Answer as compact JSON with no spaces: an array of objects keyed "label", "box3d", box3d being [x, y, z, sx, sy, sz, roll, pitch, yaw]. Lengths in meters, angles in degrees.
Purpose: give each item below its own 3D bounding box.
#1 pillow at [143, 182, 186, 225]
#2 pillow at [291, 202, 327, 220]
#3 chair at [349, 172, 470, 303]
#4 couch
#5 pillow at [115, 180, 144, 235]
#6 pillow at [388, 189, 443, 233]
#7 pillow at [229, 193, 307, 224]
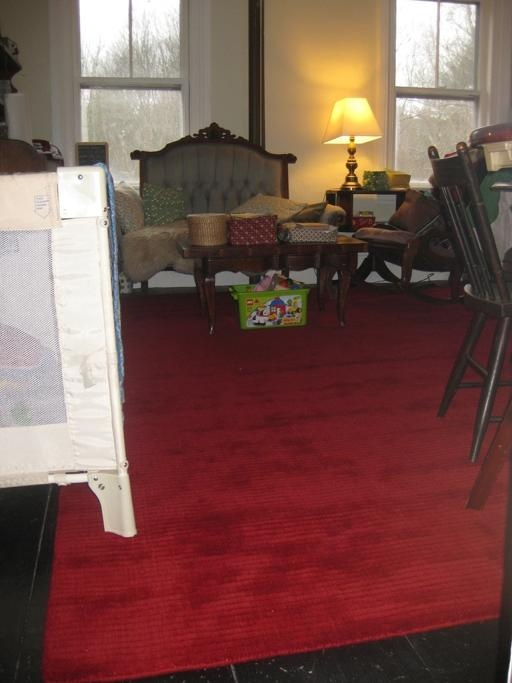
[{"label":"pillow","box3d":[-0.643,-0.957,3.945,0.298,0.282,0.204,-2,12,-10]},{"label":"pillow","box3d":[0.315,-0.789,3.321,0.151,0.044,0.142,-11,31,39]},{"label":"chair","box3d":[0.803,-0.678,3.650,0.876,0.798,0.637,-9,21,-28]},{"label":"couch","box3d":[-0.221,-0.860,3.657,1.426,0.989,0.625,-4,20,-15]},{"label":"pillow","box3d":[-0.860,-0.911,3.852,0.179,0.333,0.361,-3,12,-11]},{"label":"pillow","box3d":[1.011,-0.774,3.509,0.088,0.291,0.252,7,34,-43]},{"label":"pillow","box3d":[0.095,-0.893,3.726,0.399,0.115,0.383,5,13,25]}]
